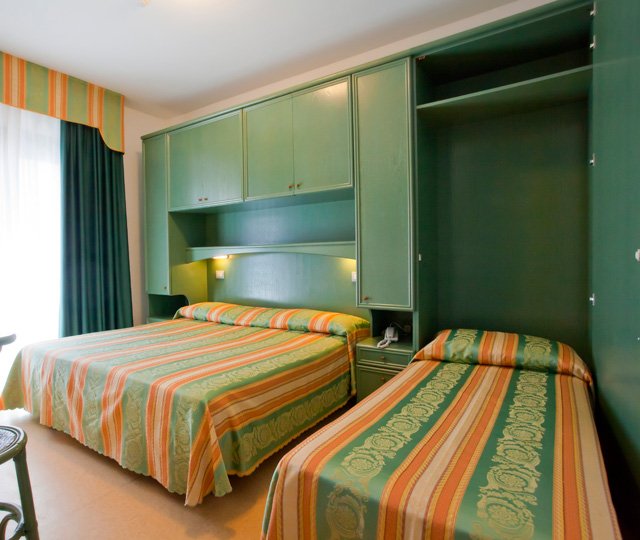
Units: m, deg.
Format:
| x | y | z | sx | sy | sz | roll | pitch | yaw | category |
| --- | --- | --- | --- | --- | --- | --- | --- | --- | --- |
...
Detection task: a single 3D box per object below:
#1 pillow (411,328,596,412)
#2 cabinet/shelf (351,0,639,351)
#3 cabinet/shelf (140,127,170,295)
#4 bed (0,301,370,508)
| x | y | z | sx | sy | sz | roll | pitch | yaw | category |
| --- | --- | --- | --- | --- | --- | --- | --- | --- | --- |
| 1.090 | 0.517 | 2.865 | 0.703 | 0.194 | 0.448 | 2 | 2 | 31 | pillow |
| 1.151 | -0.446 | 2.967 | 1.122 | 2.033 | 0.760 | -1 | 4 | 36 | cabinet/shelf |
| -1.559 | -0.711 | 4.635 | 0.263 | 1.239 | 0.141 | -6 | -7 | 8 | cabinet/shelf |
| -0.491 | 0.686 | 3.109 | 1.356 | 0.474 | 1.419 | 6 | 12 | 34 | bed |
